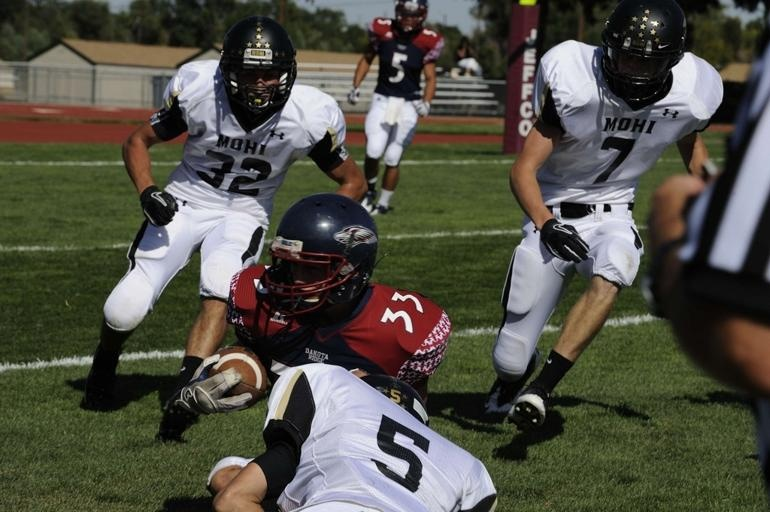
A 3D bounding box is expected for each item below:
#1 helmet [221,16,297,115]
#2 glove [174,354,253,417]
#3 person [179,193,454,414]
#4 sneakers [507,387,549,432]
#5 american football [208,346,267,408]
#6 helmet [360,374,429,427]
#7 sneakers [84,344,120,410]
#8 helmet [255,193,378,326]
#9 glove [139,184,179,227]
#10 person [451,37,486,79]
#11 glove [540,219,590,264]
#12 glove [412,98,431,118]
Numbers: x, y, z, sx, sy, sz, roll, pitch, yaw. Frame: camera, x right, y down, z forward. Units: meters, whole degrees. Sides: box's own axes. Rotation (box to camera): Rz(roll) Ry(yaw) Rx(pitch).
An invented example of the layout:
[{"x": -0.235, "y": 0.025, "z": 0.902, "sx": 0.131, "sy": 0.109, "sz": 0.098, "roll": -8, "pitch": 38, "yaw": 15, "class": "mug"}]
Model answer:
[{"x": -0.685, "y": -1.057, "z": 5.630, "sx": 0.397, "sy": 0.436, "sz": 0.533, "roll": 0, "pitch": 55, "yaw": -8, "class": "helmet"}, {"x": -0.748, "y": 0.589, "z": 4.440, "sx": 0.314, "sy": 0.155, "sz": 0.240, "roll": -12, "pitch": 22, "yaw": 44, "class": "glove"}, {"x": -0.390, "y": 0.265, "z": 5.064, "sx": 0.903, "sy": 1.067, "sz": 0.658, "roll": 15, "pitch": 30, "yaw": 6, "class": "person"}, {"x": 0.726, "y": 0.782, "z": 5.123, "sx": 0.140, "sy": 0.105, "sz": 0.239, "roll": 40, "pitch": -16, "yaw": 5, "class": "sneakers"}, {"x": -0.659, "y": 0.543, "z": 4.582, "sx": 0.198, "sy": 0.206, "sz": 0.257, "roll": 3, "pitch": -5, "yaw": 7, "class": "american football"}, {"x": 0.068, "y": 0.619, "z": 4.436, "sx": 0.252, "sy": 0.249, "sz": 0.194, "roll": 17, "pitch": 40, "yaw": -55, "class": "helmet"}, {"x": -1.543, "y": 0.678, "z": 5.607, "sx": 0.139, "sy": 0.432, "sz": 0.176, "roll": 6, "pitch": -7, "yaw": -38, "class": "sneakers"}, {"x": -0.292, "y": -0.024, "z": 4.782, "sx": 0.441, "sy": 0.493, "sz": 0.602, "roll": 18, "pitch": 24, "yaw": 36, "class": "helmet"}, {"x": -1.208, "y": -0.274, "z": 5.489, "sx": 0.214, "sy": 0.175, "sz": 0.103, "roll": 51, "pitch": 18, "yaw": 9, "class": "glove"}, {"x": 1.658, "y": -3.927, "z": 20.075, "sx": 0.424, "sy": 0.758, "sz": 1.678, "roll": 8, "pitch": 14, "yaw": 5, "class": "person"}, {"x": 0.911, "y": -0.062, "z": 5.115, "sx": 0.235, "sy": 0.184, "sz": 0.115, "roll": 42, "pitch": 6, "yaw": 11, "class": "glove"}, {"x": 0.358, "y": -1.395, "z": 9.701, "sx": 0.124, "sy": 0.171, "sz": 0.082, "roll": 3, "pitch": 34, "yaw": 11, "class": "glove"}]
